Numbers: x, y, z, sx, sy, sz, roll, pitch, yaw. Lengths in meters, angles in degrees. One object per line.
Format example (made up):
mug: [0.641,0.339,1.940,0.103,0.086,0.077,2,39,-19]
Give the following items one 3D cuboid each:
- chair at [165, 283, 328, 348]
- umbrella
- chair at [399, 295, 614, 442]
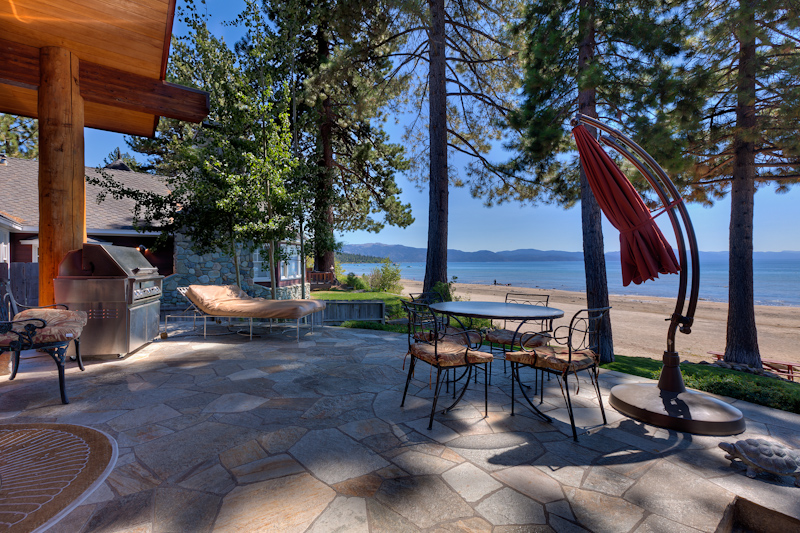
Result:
chair: [-3.194,0.754,10.376,2.699,0.673,1.274,-1,0,23]
umbrella: [3.638,-0.233,7.452,1.665,4.231,0.799,0,2,25]
chair: [1.724,1.466,7.978,2.889,1.849,3.231,-1,0,22]
